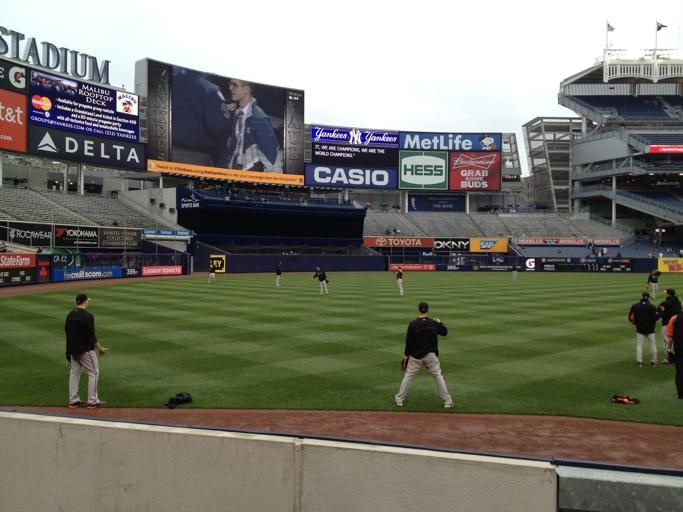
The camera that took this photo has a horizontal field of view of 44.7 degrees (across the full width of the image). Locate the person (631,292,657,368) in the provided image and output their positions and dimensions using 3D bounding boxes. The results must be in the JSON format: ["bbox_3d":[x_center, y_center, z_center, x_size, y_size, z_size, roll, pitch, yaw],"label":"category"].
[{"bbox_3d":[8.755,2.119,23.983,0.776,1.848,0.982,1,0,20],"label":"person"}]

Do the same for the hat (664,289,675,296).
[{"bbox_3d":[9.523,1.039,24.076,0.227,0.259,0.270,3,8,12],"label":"hat"}]

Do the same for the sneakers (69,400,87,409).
[{"bbox_3d":[-6.626,3.702,20.880,0.458,0.176,0.176,-2,1,-18],"label":"sneakers"}]

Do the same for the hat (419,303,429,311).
[{"bbox_3d":[2.044,1.279,20.764,0.199,0.176,0.224,1,0,0],"label":"hat"}]

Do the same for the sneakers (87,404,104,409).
[{"bbox_3d":[-6.185,3.731,20.837,0.380,0.170,0.131,0,3,-13],"label":"sneakers"}]

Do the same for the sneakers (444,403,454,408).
[{"bbox_3d":[2.722,3.755,21.034,0.212,0.088,0.111,-4,7,-13],"label":"sneakers"}]

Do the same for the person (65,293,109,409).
[{"bbox_3d":[-6.477,2.357,20.906,0.830,2.813,1.096,0,0,-43],"label":"person"}]

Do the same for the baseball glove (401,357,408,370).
[{"bbox_3d":[1.554,2.679,20.791,0.078,0.306,0.174,5,-3,12],"label":"baseball glove"}]

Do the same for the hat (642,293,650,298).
[{"bbox_3d":[8.779,1.150,23.989,0.216,0.192,0.160,-1,7,-10],"label":"hat"}]
